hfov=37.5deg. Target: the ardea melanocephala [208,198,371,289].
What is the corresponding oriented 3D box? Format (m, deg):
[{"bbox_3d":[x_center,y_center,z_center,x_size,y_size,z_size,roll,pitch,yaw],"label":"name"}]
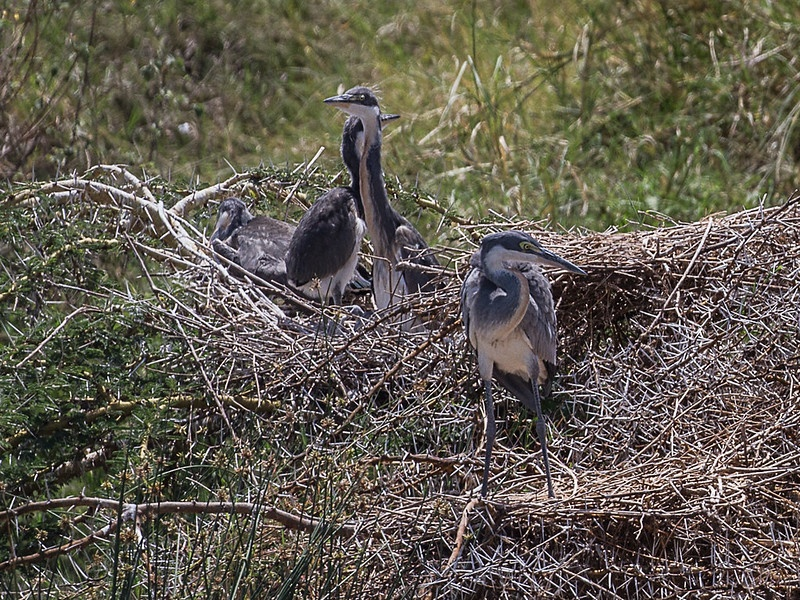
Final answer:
[{"bbox_3d":[-0.739,-0.375,7.854,1.064,0.681,0.472,5,2,22],"label":"ardea melanocephala"}]
